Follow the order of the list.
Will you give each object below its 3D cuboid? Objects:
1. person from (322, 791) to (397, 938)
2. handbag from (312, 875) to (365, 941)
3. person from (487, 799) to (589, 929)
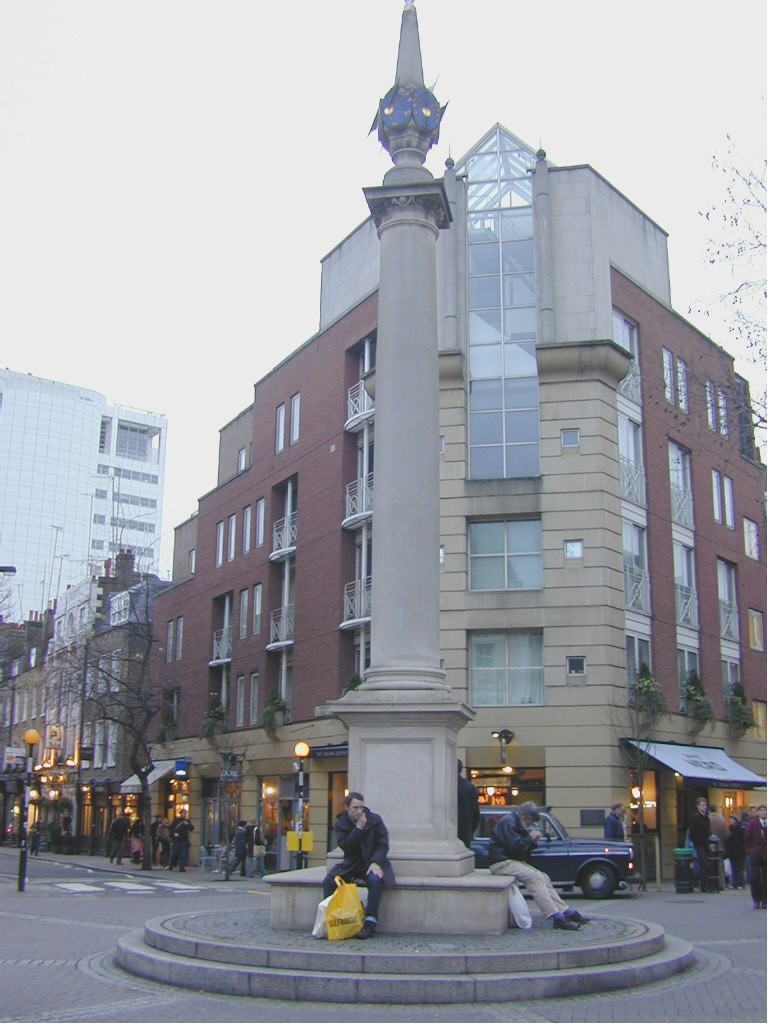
[{"bbox_3d":[-0.245,3.188,9.634,0.676,1.124,0.758,-1,-2,-2],"label":"person"},{"bbox_3d":[-0.379,3.434,9.112,0.439,0.484,0.250,5,-11,-28],"label":"handbag"},{"bbox_3d":[1.517,3.611,10.779,0.644,1.174,1.116,8,-17,-29],"label":"person"}]
